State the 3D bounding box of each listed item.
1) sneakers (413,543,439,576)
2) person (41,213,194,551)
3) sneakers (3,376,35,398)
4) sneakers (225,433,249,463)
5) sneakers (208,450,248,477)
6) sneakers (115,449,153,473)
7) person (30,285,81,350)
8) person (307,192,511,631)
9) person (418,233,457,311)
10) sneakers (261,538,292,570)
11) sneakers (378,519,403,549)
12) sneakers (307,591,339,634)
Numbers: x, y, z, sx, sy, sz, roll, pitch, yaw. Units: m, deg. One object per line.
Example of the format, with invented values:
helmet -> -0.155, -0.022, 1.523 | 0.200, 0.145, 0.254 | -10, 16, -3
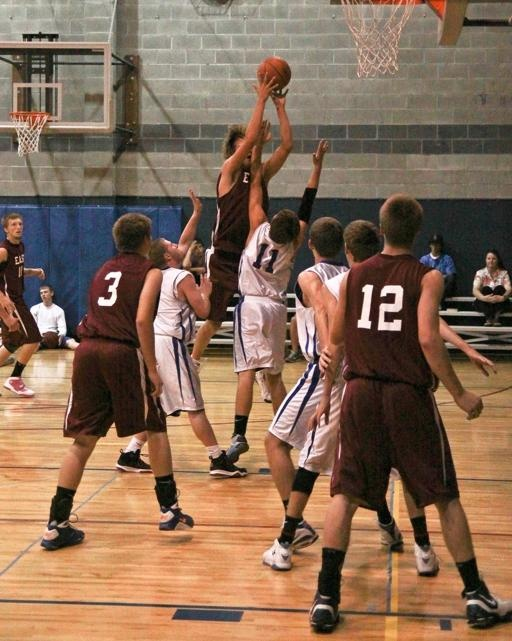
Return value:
sneakers -> 0.675, 0.941, 3.463 | 0.058, 0.069, 0.154 | -2, 21, 5
person -> -0.624, 0.248, 3.866 | 0.719, 1.414, 0.591 | -2, 3, -34
sneakers -> -2.037, 0.567, 7.573 | 0.377, 0.170, 0.143 | 9, 3, 33
sneakers -> -0.118, 0.725, 4.974 | 0.089, 0.190, 0.128 | 9, 39, -33
sneakers -> -0.172, 0.799, 4.895 | 0.240, 0.146, 0.098 | 4, -2, -16
sneakers -> -0.699, 0.796, 5.024 | 0.244, 0.118, 0.094 | 10, 0, -14
person -> -2.582, -0.027, 10.684 | 0.652, 0.804, 0.705 | -5, 6, -42
person -> 0.528, 0.319, 3.030 | 0.655, 1.469, 0.494 | 1, 12, 3
person -> 2.116, -0.555, 10.511 | 0.526, 0.945, 0.561 | 0, -3, -4
sneakers -> 0.082, 0.939, 3.561 | 0.067, 0.100, 0.157 | 5, 2, -6
sneakers -> 0.572, 0.907, 3.776 | 0.062, 0.118, 0.185 | -16, 4, 2
sneakers -> 0.223, 0.990, 2.971 | 0.062, 0.073, 0.171 | 1, 2, 6
